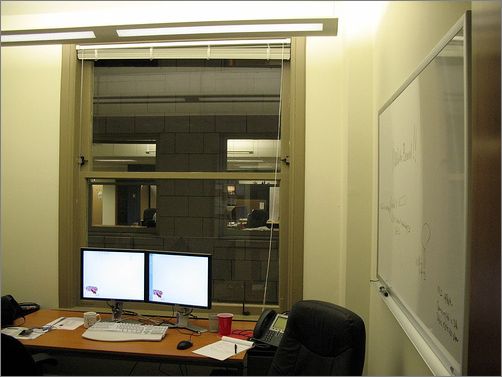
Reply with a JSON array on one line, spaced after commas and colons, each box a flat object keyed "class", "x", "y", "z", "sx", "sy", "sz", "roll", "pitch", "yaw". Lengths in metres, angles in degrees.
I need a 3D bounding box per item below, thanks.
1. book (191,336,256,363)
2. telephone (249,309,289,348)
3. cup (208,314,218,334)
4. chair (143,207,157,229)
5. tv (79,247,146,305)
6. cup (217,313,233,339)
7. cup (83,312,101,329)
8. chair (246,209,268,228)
[{"class": "book", "x": -0.172, "y": 1.004, "z": 2.641, "sx": 0.359, "sy": 0.049, "sz": 0.230, "roll": -2, "pitch": 3, "yaw": -38}, {"class": "telephone", "x": 0.132, "y": 0.914, "z": 2.741, "sx": 0.204, "sy": 0.225, "sz": 0.084, "roll": -7, "pitch": -31, "yaw": 42}, {"class": "cup", "x": -0.256, "y": 0.931, "z": 2.896, "sx": 0.086, "sy": 0.106, "sz": 0.091, "roll": 1, "pitch": -6, "yaw": 0}, {"class": "chair", "x": -0.845, "y": 0.244, "z": 3.606, "sx": 0.126, "sy": 0.159, "sz": 0.152, "roll": 1, "pitch": -4, "yaw": -2}, {"class": "tv", "x": -0.988, "y": 0.628, "z": 3.045, "sx": 0.350, "sy": 0.298, "sz": 0.036, "roll": 1, "pitch": -1, "yaw": 9}, {"class": "cup", "x": -0.176, "y": 0.923, "z": 2.863, "sx": 0.106, "sy": 0.125, "sz": 0.116, "roll": 0, "pitch": -11, "yaw": 0}, {"class": "cup", "x": -1.117, "y": 0.933, "z": 2.995, "sx": 0.077, "sy": 0.115, "sz": 0.120, "roll": -3, "pitch": -7, "yaw": 36}, {"class": "chair", "x": 0.052, "y": 0.248, "z": 3.491, "sx": 0.141, "sy": 0.208, "sz": 0.143, "roll": 1, "pitch": -3, "yaw": 12}]
